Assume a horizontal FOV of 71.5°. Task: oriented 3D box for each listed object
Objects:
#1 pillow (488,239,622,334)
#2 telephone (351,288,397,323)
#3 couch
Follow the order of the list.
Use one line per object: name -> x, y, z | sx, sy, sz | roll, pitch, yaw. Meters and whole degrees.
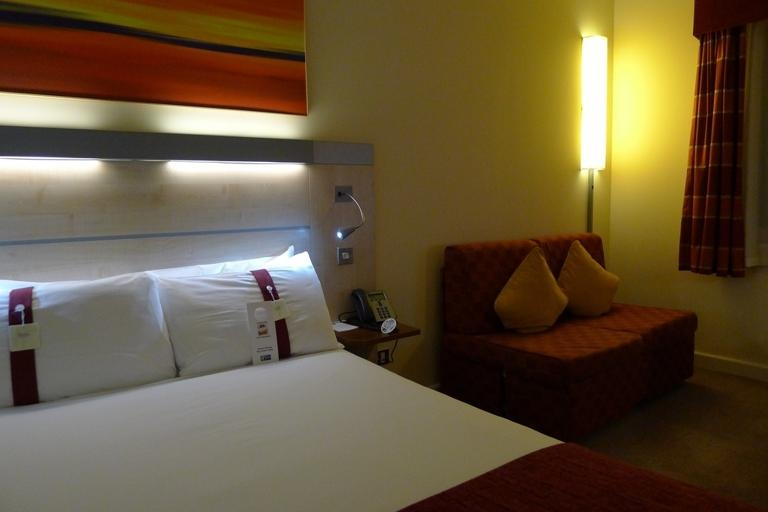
pillow -> 1.268, 0.245, 3.946 | 0.915, 0.654, 0.271 | 4, -4, -36
telephone -> -0.069, 0.321, 3.475 | 0.267, 0.152, 0.209 | -8, 4, -5
couch -> 1.308, 0.051, 3.858 | 2.107, 1.428, 1.185 | -3, 2, -43
